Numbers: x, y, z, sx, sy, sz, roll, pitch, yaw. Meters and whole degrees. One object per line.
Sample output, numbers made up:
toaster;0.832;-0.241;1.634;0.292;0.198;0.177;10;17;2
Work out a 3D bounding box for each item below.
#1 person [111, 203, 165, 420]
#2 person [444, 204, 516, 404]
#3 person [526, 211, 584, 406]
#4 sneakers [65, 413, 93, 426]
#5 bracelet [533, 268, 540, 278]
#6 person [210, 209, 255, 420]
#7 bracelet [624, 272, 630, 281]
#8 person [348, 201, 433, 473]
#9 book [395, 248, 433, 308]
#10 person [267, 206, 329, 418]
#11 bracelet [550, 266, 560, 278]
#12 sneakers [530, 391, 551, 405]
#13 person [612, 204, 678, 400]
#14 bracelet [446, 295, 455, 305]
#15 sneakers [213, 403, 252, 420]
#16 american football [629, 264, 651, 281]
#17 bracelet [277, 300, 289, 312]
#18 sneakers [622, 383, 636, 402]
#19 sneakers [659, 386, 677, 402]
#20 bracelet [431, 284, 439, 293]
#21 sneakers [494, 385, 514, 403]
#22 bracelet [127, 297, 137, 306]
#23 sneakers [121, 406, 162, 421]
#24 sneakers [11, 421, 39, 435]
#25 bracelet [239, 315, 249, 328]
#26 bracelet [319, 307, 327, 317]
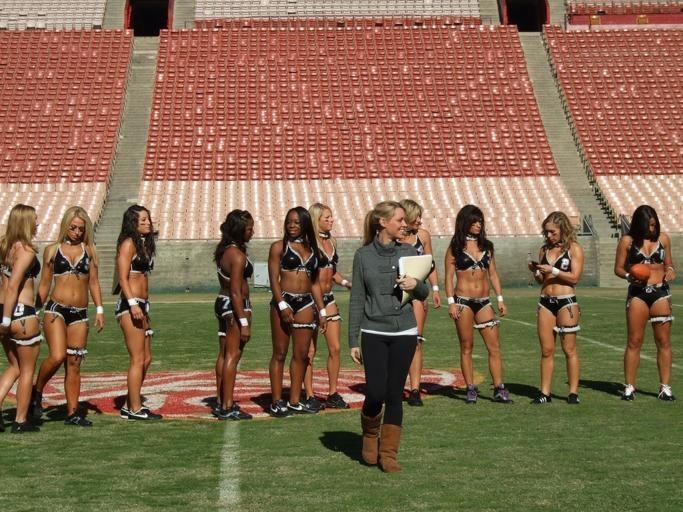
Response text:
person;-3.090;0.857;16.018;0.641;3.187;0.813;-3;13;-11
person;2.126;0.739;16.785;1.002;3.090;0.853;0;13;3
person;3.343;0.793;16.675;0.843;2.936;0.881;1;13;7
sneakers;-3.866;2.435;15.900;0.482;0.184;0.161;2;-2;-1
bracelet;3.058;0.264;16.679;0.085;0.105;0.033;7;16;23
person;-1.652;0.888;16.066;0.639;3.123;0.890;-1;13;-4
bracelet;4.476;0.304;16.744;0.145;0.133;0.035;5;2;31
person;0.592;1.066;14.567;0.981;3.557;1.121;0;13;0
book;0.986;0.302;14.433;0.669;0.733;0.625;-3;6;-29
person;-0.709;0.832;16.133;0.916;3.156;0.718;-7;14;-27
bracelet;3.306;0.238;16.514;0.131;0.150;0.101;1;12;4
sneakers;3.071;2.237;16.659;0.383;0.156;0.133;5;-4;-34
person;4.799;0.713;16.822;0.993;3.022;1.003;3;13;14
bracelet;1.701;0.686;16.688;0.127;0.116;0.116;-1;0;1
sneakers;-1.665;2.347;16.091;0.637;0.246;0.219;2;-3;-2
american football;4.626;0.245;16.612;0.257;0.277;0.256;26;52;25
bracelet;-0.867;0.732;15.879;0.140;0.155;0.134;-5;13;-19
sneakers;4.512;2.138;16.758;0.279;0.251;0.188;-1;6;9
sneakers;5.100;2.140;16.702;0.269;0.198;0.234;2;12;10
bracelet;1.525;0.514;17.272;0.136;0.115;0.129;1;-4;-14
sneakers;2.509;2.167;16.863;0.423;0.240;0.161;4;3;35
bracelet;-3.092;0.669;15.754;0.144;0.104;0.128;-3;12;-13
sneakers;-3.015;2.350;16.046;0.635;0.227;0.221;1;-3;-2
sneakers;-4.630;2.502;15.602;0.396;0.147;0.170;1;-2;-9
bracelet;-1.454;0.964;15.803;0.139;0.144;0.125;2;-29;-5
bracelet;-0.296;0.849;16.173;0.117;0.109;0.112;-6;-3;41
